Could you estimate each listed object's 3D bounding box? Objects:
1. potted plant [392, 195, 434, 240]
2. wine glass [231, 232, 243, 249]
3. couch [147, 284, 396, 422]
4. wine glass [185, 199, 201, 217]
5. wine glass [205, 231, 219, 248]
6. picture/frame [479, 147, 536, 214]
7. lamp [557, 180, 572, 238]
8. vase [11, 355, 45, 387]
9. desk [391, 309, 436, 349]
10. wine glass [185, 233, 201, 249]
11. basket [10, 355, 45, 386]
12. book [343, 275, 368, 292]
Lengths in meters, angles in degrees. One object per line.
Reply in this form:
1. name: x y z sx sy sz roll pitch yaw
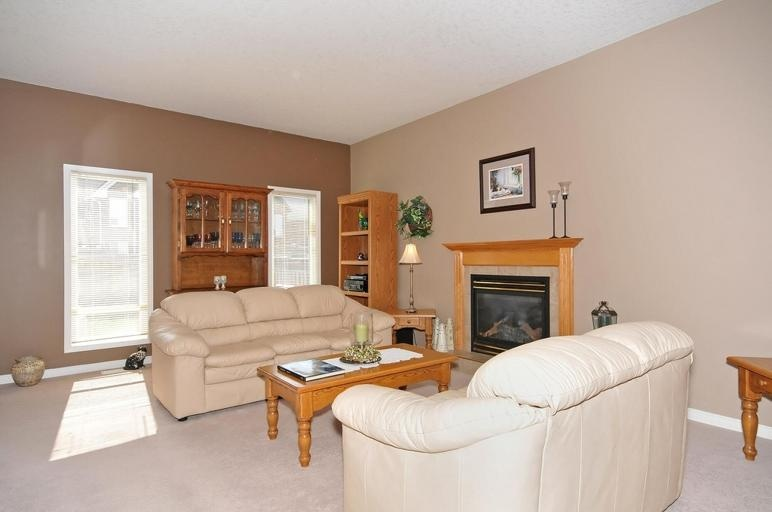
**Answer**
1. potted plant: 0.349 -0.503 6.845 0.317 0.602 0.581 -11 17 -34
2. wine glass: -1.958 -0.212 6.685 0.193 0.189 0.194 -1 2 -16
3. couch: -1.190 0.936 5.658 2.629 1.052 1.167 -1 5 -37
4. wine glass: -2.461 -0.608 6.437 0.082 0.223 0.248 -1 -1 41
5. wine glass: -2.252 -0.201 6.519 0.216 0.251 0.153 1 6 -30
6. picture/frame: 1.414 -0.867 5.844 0.069 0.807 0.905 0 -1 -41
7. lamp: 1.876 -0.491 5.375 0.133 0.574 0.206 4 16 17
8. vase: -3.922 1.265 5.552 0.308 0.315 0.335 0 -7 16
9. desk: 0.297 1.001 6.494 0.623 0.511 0.543 -1 -2 -4
10. wine glass: -2.443 -0.191 6.436 0.202 0.178 0.168 2 -1 0
11. basket: -3.921 1.257 5.553 0.306 0.313 0.333 -1 -7 19
12. book: -0.439 0.400 7.187 0.250 0.211 0.338 2 -3 -44
